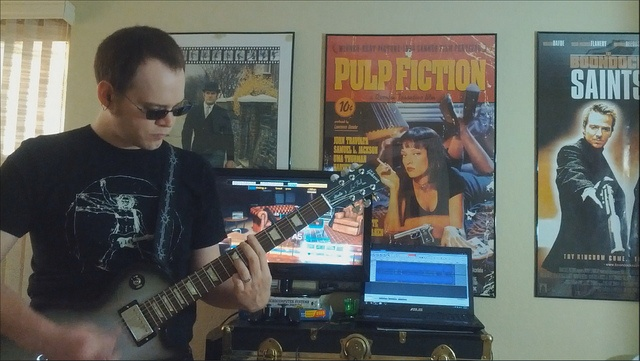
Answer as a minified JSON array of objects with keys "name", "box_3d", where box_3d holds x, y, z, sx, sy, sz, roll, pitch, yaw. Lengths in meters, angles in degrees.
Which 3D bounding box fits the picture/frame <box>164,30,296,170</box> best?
[{"name":"picture/frame","box_3d":[-0.659,-0.572,5.196,1.240,1.081,0.054,1,1,6]}]

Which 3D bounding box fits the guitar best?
[{"name":"guitar","box_3d":[-0.899,0.552,4.650,1.600,0.546,0.209,-33,6,-7]}]

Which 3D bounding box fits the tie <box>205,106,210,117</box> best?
[{"name":"tie","box_3d":[-0.879,-0.551,5.330,0.050,0.060,0.016,1,-7,2]}]

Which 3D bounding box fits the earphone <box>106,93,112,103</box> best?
[{"name":"earphone","box_3d":[-1.380,-0.541,4.462,0.050,0.042,0.013,-2,-2,15]}]

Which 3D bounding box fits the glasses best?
[{"name":"glasses","box_3d":[-1.076,-0.483,4.491,0.432,0.171,0.086,-2,6,-15]}]

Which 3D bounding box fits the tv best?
[{"name":"tv","box_3d":[-0.198,0.380,4.855,1.089,0.697,0.100,-1,-10,-1]}]

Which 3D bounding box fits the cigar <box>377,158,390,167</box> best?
[{"name":"cigar","box_3d":[0.480,-0.141,5.196,0.147,0.019,0.020,23,-4,23]}]
